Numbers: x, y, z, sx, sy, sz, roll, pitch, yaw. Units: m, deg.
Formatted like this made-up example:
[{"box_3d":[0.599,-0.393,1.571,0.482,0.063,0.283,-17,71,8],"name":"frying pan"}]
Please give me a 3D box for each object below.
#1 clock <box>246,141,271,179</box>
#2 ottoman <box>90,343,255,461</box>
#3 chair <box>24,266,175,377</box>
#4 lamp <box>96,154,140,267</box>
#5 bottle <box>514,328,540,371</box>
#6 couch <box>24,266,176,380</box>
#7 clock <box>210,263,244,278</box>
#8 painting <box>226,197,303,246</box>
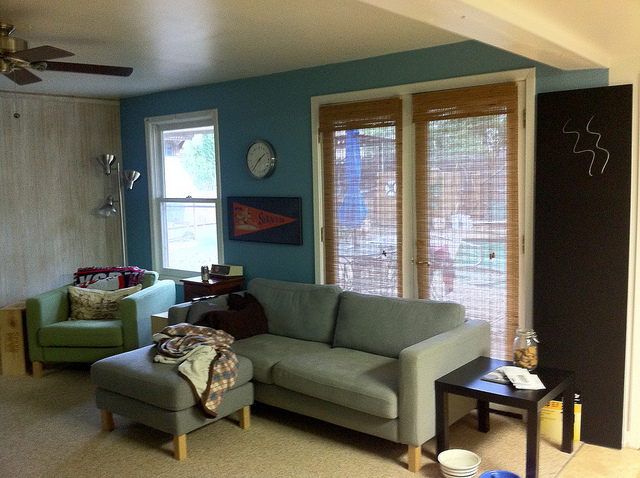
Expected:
[{"box_3d":[-0.621,-0.816,5.397,0.445,0.421,0.063,3,5,36],"name":"clock"},{"box_3d":[-1.174,1.226,4.024,1.177,0.605,0.631,3,11,20],"name":"ottoman"},{"box_3d":[-2.243,0.837,5.605,1.335,1.137,1.118,0,-2,2],"name":"chair"},{"box_3d":[-2.536,-0.331,6.507,0.536,1.419,0.572,7,14,37],"name":"lamp"},{"box_3d":[1.444,0.766,3.681,0.161,0.268,0.260,3,11,20],"name":"bottle"},{"box_3d":[-2.291,0.840,5.631,1.380,1.093,1.172,-1,-1,4],"name":"couch"},{"box_3d":[-0.978,0.321,5.654,0.240,0.095,0.167,0,-1,38],"name":"clock"},{"box_3d":[-0.583,-0.196,5.454,1.010,0.509,0.079,6,13,36],"name":"painting"}]
